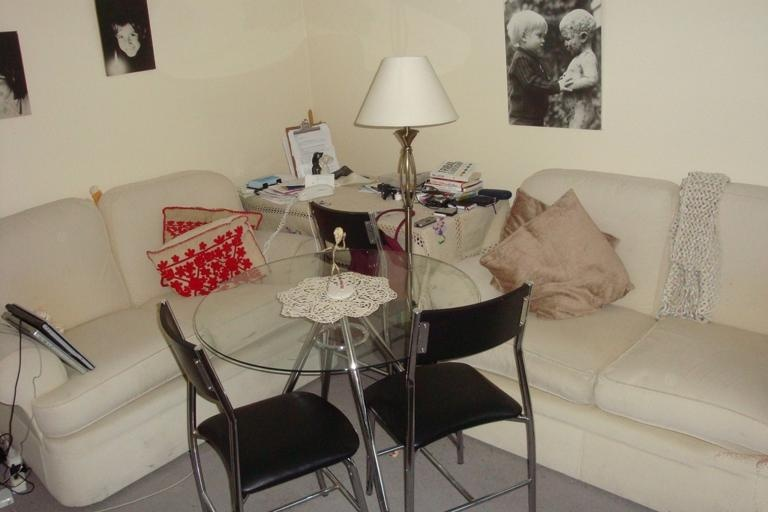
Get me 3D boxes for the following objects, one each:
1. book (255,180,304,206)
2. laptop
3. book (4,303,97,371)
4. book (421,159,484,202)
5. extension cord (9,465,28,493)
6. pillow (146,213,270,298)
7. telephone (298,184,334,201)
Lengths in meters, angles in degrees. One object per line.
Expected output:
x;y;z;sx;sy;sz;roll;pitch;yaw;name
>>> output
-0.741;-0.455;4.144;0.223;0.059;0.239;14;31;29;book
-1.653;0.444;2.909;0.336;0.343;0.080;24;69;24;laptop
-1.649;0.431;2.954;0.351;0.363;0.084;26;68;28;book
0.470;-0.514;3.829;0.291;0.134;0.285;-3;23;9;book
-1.947;1.191;3.059;0.074;0.119;0.117;-15;40;-34;extension cord
-1.085;-0.013;3.604;0.639;0.468;0.211;-27;17;-16;pillow
-0.479;-0.456;4.094;0.175;0.058;0.134;-16;20;-39;telephone
